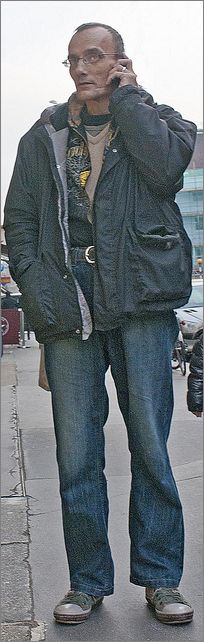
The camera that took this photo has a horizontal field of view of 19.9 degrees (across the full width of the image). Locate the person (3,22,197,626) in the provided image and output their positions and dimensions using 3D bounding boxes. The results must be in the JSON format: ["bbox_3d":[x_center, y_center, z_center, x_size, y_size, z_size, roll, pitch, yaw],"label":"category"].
[{"bbox_3d":[-0.002,0.012,2.240,0.760,2.267,0.301,2,2,15],"label":"person"}]
